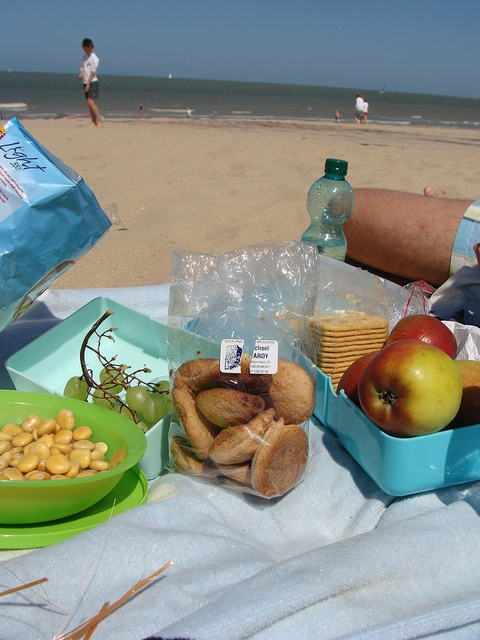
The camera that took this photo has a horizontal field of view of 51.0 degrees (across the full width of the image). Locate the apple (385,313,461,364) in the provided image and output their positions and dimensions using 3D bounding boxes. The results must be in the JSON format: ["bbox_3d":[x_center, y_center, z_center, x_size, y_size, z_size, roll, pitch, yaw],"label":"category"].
[{"bbox_3d":[0.345,0.023,0.986,0.102,0.108,0.101,-29,46,35],"label":"apple"}]

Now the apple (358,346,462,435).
[{"bbox_3d":[0.268,0.109,0.804,0.156,0.120,0.124,12,30,23],"label":"apple"}]

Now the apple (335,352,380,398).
[{"bbox_3d":[0.210,0.100,0.957,0.069,0.083,0.075,-17,27,-36],"label":"apple"}]

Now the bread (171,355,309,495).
[{"bbox_3d":[-0.007,0.174,0.826,0.244,0.214,0.165,4,28,8],"label":"bread"}]

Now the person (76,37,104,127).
[{"bbox_3d":[-2.197,-3.402,7.288,0.343,1.166,0.335,-9,24,-26],"label":"person"}]
